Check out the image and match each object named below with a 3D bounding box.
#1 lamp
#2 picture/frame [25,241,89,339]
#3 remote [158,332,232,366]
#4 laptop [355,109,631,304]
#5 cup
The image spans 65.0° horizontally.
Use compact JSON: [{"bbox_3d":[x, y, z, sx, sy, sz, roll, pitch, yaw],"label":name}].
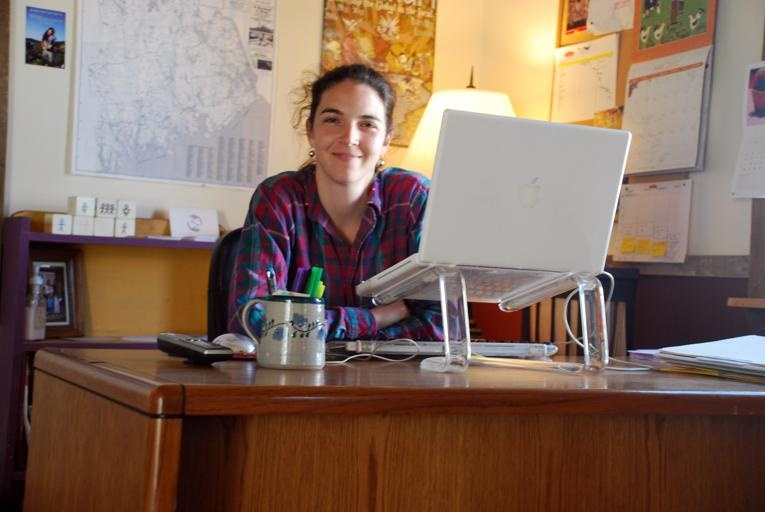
[{"bbox_3d":[0.395,-0.653,3.024,0.496,0.430,0.492,-23,50,-31],"label":"lamp"},{"bbox_3d":[-1.458,0.169,2.706,0.223,0.372,0.165,-3,15,-31],"label":"picture/frame"},{"bbox_3d":[-0.399,0.185,1.246,0.066,0.041,0.141,6,-3,-36],"label":"remote"},{"bbox_3d":[0.410,-0.105,1.447,0.244,0.375,0.361,-10,-17,28],"label":"laptop"},{"bbox_3d":[-0.210,0.157,1.238,0.179,0.146,0.117,6,-6,-10],"label":"cup"}]
